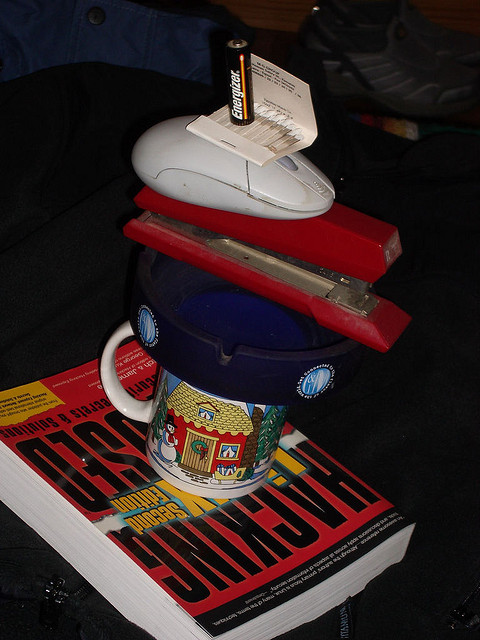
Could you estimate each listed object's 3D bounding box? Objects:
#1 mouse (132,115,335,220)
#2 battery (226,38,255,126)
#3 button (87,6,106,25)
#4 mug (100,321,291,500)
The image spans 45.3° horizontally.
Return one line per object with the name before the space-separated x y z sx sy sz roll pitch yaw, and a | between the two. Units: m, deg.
mouse | -0.006 -0.093 0.340 0.127 0.037 0.064 22 49 17
battery | -0.001 -0.123 0.297 0.013 0.037 0.025 11 43 7
button | -0.127 -0.267 0.505 0.015 0.013 0.005 -4 41 -11
mug | -0.025 0.042 0.471 0.145 0.128 0.123 18 39 24
